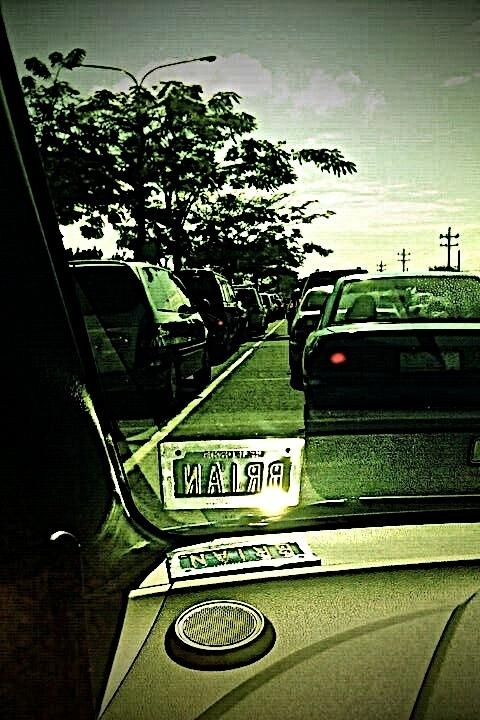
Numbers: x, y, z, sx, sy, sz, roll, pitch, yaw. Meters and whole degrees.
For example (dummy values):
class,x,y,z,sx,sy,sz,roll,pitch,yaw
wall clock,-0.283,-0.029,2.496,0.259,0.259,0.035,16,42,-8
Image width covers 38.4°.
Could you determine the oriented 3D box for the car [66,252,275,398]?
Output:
class,x,y,z,sx,sy,sz,roll,pitch,yaw
car,-1.113,-0.390,8.286,1.231,1.171,2.527,-2,9,17
